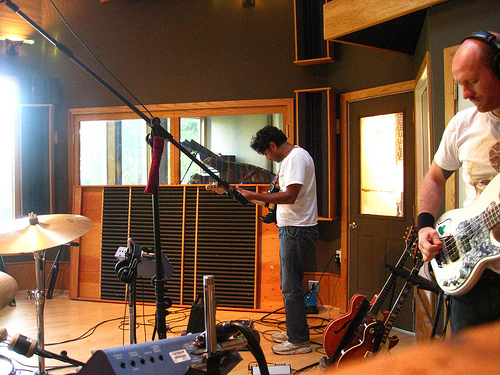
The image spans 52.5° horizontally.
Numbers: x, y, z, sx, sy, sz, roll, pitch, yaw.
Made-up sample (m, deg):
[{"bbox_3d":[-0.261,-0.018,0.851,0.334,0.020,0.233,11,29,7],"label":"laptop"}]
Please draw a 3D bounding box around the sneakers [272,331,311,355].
[{"bbox_3d":[0.373,1.488,4.892,0.396,0.198,0.157,6,-5,-1],"label":"sneakers"}]

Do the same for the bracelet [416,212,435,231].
[{"bbox_3d":[1.190,0.239,3.459,0.112,0.129,0.114,1,-11,19],"label":"bracelet"}]

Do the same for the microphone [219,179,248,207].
[{"bbox_3d":[-0.155,0.048,5.022,0.346,0.090,0.137,36,0,-27],"label":"microphone"}]
